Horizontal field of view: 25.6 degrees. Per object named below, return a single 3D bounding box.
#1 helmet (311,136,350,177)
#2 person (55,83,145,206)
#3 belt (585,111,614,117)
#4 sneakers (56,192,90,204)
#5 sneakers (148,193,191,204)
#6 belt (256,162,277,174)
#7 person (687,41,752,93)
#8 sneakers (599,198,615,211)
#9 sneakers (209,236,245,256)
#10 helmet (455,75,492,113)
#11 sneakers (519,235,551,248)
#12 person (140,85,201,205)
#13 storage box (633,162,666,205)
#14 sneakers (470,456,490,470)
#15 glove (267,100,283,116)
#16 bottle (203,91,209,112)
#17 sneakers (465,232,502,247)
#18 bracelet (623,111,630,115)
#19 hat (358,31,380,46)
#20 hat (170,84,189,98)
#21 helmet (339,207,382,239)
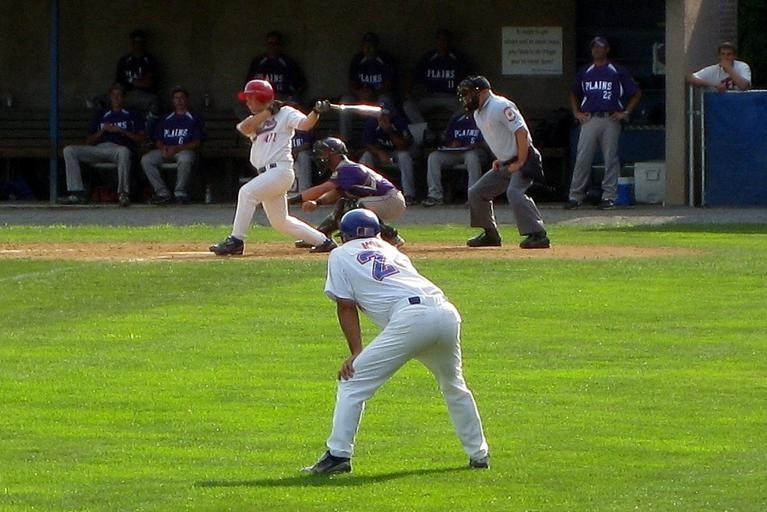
[{"bbox_3d":[-0.694,-1.427,23.756,0.577,0.452,0.442,26,16,7],"label":"helmet"},{"bbox_3d":[-5.090,-2.048,30.946,1.461,2.141,1.125,-3,5,-5],"label":"person"},{"bbox_3d":[3.665,-2.383,28.544,0.446,0.083,0.082,1,6,34],"label":"belt"},{"bbox_3d":[-5.649,-1.027,30.722,0.648,0.232,0.224,3,11,-10],"label":"sneakers"},{"bbox_3d":[-3.889,-1.016,30.658,0.682,0.216,0.216,3,-3,-4],"label":"sneakers"},{"bbox_3d":[-1.639,-1.242,23.873,0.222,0.069,0.156,-21,1,38],"label":"belt"},{"bbox_3d":[5.799,-3.238,29.174,0.967,0.812,0.765,0,5,23],"label":"person"},{"bbox_3d":[3.801,-0.874,28.662,0.268,0.134,0.148,-4,22,4],"label":"sneakers"},{"bbox_3d":[-2.211,-0.140,24.272,0.635,0.252,0.199,1,20,-4],"label":"sneakers"},{"bbox_3d":[1.255,-2.311,24.050,0.620,0.447,0.471,-7,12,-3],"label":"helmet"},{"bbox_3d":[2.216,-0.198,24.776,0.463,0.171,0.170,2,2,-5],"label":"sneakers"},{"bbox_3d":[-3.832,-2.007,30.743,1.003,2.092,0.859,-2,5,11],"label":"person"},{"bbox_3d":[4.847,-1.300,29.876,0.833,0.596,0.708,0,13,4],"label":"storage box"},{"bbox_3d":[1.026,2.204,17.945,0.223,0.114,0.116,4,-3,0],"label":"sneakers"},{"bbox_3d":[-1.518,-2.078,23.775,0.203,0.189,0.245,-2,4,-1],"label":"glove"},{"bbox_3d":[-3.457,-3.031,33.244,0.120,0.312,0.115,-2,5,0],"label":"bottle"},{"bbox_3d":[1.501,-0.230,25.084,0.508,0.180,0.208,1,4,0],"label":"sneakers"},{"bbox_3d":[4.104,-2.410,28.502,0.049,0.101,0.081,33,-16,-11],"label":"bracelet"},{"bbox_3d":[-0.245,-4.005,31.424,0.357,0.319,0.381,-1,21,-5],"label":"hat"},{"bbox_3d":[-3.720,-3.035,31.008,0.422,0.288,0.422,-3,14,-9],"label":"hat"},{"bbox_3d":[-0.241,-0.355,17.881,0.335,0.264,0.385,-12,21,-38],"label":"helmet"}]
